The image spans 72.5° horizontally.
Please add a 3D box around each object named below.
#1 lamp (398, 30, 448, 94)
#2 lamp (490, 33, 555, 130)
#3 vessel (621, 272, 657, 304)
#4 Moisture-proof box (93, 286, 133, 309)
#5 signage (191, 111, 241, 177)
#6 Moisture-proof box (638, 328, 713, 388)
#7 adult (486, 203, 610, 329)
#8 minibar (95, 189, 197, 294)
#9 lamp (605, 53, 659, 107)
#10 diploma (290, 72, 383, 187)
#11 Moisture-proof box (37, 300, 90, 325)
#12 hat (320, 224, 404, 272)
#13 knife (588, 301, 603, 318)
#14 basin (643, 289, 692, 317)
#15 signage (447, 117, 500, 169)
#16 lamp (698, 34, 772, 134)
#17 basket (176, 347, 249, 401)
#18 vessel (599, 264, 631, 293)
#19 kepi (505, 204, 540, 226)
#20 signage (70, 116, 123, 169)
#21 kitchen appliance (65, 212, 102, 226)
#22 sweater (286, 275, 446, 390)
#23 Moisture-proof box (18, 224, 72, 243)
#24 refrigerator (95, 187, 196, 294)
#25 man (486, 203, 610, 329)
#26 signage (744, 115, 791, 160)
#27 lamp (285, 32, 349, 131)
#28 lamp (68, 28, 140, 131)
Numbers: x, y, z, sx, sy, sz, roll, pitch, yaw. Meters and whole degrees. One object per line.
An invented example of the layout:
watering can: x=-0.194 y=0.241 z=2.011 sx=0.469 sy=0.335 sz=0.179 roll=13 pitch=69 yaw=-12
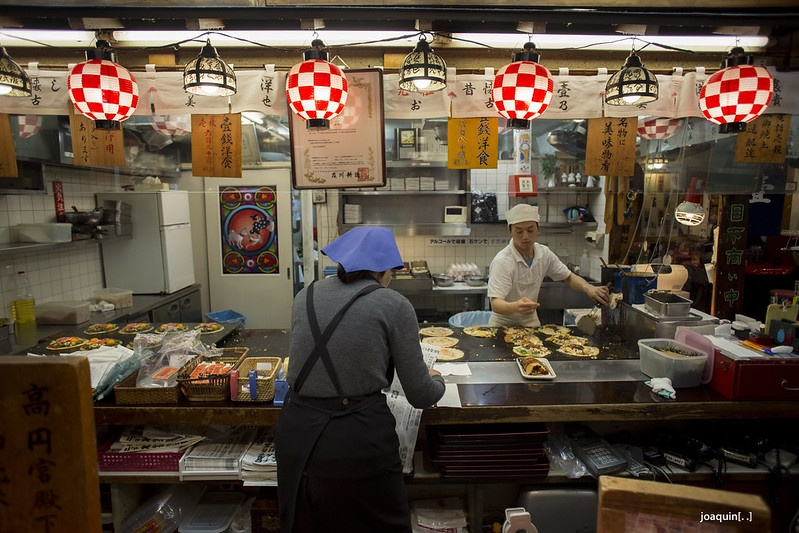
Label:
lamp: x=0.132 y=-1.703 z=4.644 sx=0.504 sy=0.424 sz=0.458 roll=1 pitch=7 yaw=-4
lamp: x=1.049 y=-1.527 z=4.569 sx=0.515 sy=0.708 sz=0.501 roll=2 pitch=7 yaw=-30
vessel: x=2.158 y=0.180 z=5.011 sx=0.307 sy=0.246 sz=0.350 roll=-1 pitch=5 yaw=3
Moisture-proof box: x=-3.323 y=0.373 z=6.346 sx=0.375 sy=0.219 sz=0.242 roll=-5 pitch=7 yaw=-28
signage: x=-1.693 y=-1.153 z=5.068 sx=0.706 sy=0.749 sz=0.060 roll=1 pitch=6 yaw=2
Moisture-proof box: x=2.198 y=0.749 z=4.375 sx=0.394 sy=0.211 sz=0.510 roll=1 pitch=0 yaw=-6
adult: x=1.418 y=0.015 z=5.441 sx=1.025 sy=1.250 sz=0.995 roll=-3 pitch=7 yaw=-12
minibar: x=-3.343 y=-0.269 z=7.245 sx=1.089 sy=1.217 sz=0.956 roll=-4 pitch=2 yaw=-4
lamp: x=1.940 y=-1.579 z=4.567 sx=0.382 sy=0.415 sz=0.233 roll=1 pitch=8 yaw=25
diploma: x=-0.546 y=-1.258 z=4.868 sx=1.225 sy=1.218 sz=0.103 roll=-1 pitch=6 yaw=0
Moisture-proof box: x=-3.612 y=0.499 z=5.856 sx=0.482 sy=0.227 sz=0.248 roll=-2 pitch=7 yaw=-1
hat: x=-0.249 y=-0.120 z=3.739 sx=0.463 sy=0.172 sz=0.351 roll=-5 pitch=17 yaw=-38
knife: x=2.096 y=0.459 z=5.820 sx=0.143 sy=0.134 sz=0.257 roll=16 pitch=26 yaw=15
basin: x=2.331 y=0.313 z=4.739 sx=0.250 sy=0.113 sz=0.300 roll=0 pitch=3 yaw=-3
signage: x=0.692 y=-1.161 z=5.096 sx=0.584 sy=0.555 sz=0.066 roll=0 pitch=12 yaw=0
lamp: x=2.833 y=-1.532 z=4.582 sx=0.586 sy=0.680 sz=0.579 roll=-17 pitch=18 yaw=-37
basket: x=-1.479 y=0.830 z=4.269 sx=0.424 sy=0.137 sz=0.679 roll=0 pitch=7 yaw=-4
vessel: x=2.072 y=0.116 z=5.302 sx=0.347 sy=0.217 sz=0.265 roll=0 pitch=-3 yaw=2
kepi: x=1.218 y=-0.508 z=5.407 sx=0.302 sy=0.206 sz=0.170 roll=-1 pitch=7 yaw=6
signage: x=-2.749 y=-1.136 z=4.962 sx=0.541 sy=0.528 sz=0.077 roll=1 pitch=9 yaw=1
kitchen appliance: x=-3.591 y=-0.538 z=6.194 sx=0.355 sy=0.160 sz=0.123 roll=-5 pitch=8 yaw=-26
sweater: x=-0.203 y=0.468 z=3.867 sx=1.325 sy=0.792 sz=0.714 roll=1 pitch=4 yaw=14
Moisture-proof box: x=-3.756 y=-0.347 z=5.755 sx=0.480 sy=0.215 sz=0.206 roll=-6 pitch=8 yaw=-32
refrigerator: x=-3.174 y=-0.291 z=6.890 sx=1.077 sy=1.304 sz=0.588 roll=-5 pitch=8 yaw=-26
man: x=1.421 y=0.016 z=5.429 sx=1.025 sy=1.250 sz=1.020 roll=-4 pitch=7 yaw=-12
signage: x=3.482 y=-1.232 z=5.159 sx=0.479 sy=0.467 sz=0.040 roll=2 pitch=9 yaw=8
lamp: x=-0.679 y=-1.510 z=4.460 sx=0.361 sy=0.689 sz=0.352 roll=4 pitch=10 yaw=40
lamp: x=-2.527 y=-1.532 z=4.507 sx=0.559 sy=0.715 sz=0.538 roll=-3 pitch=15 yaw=-27
